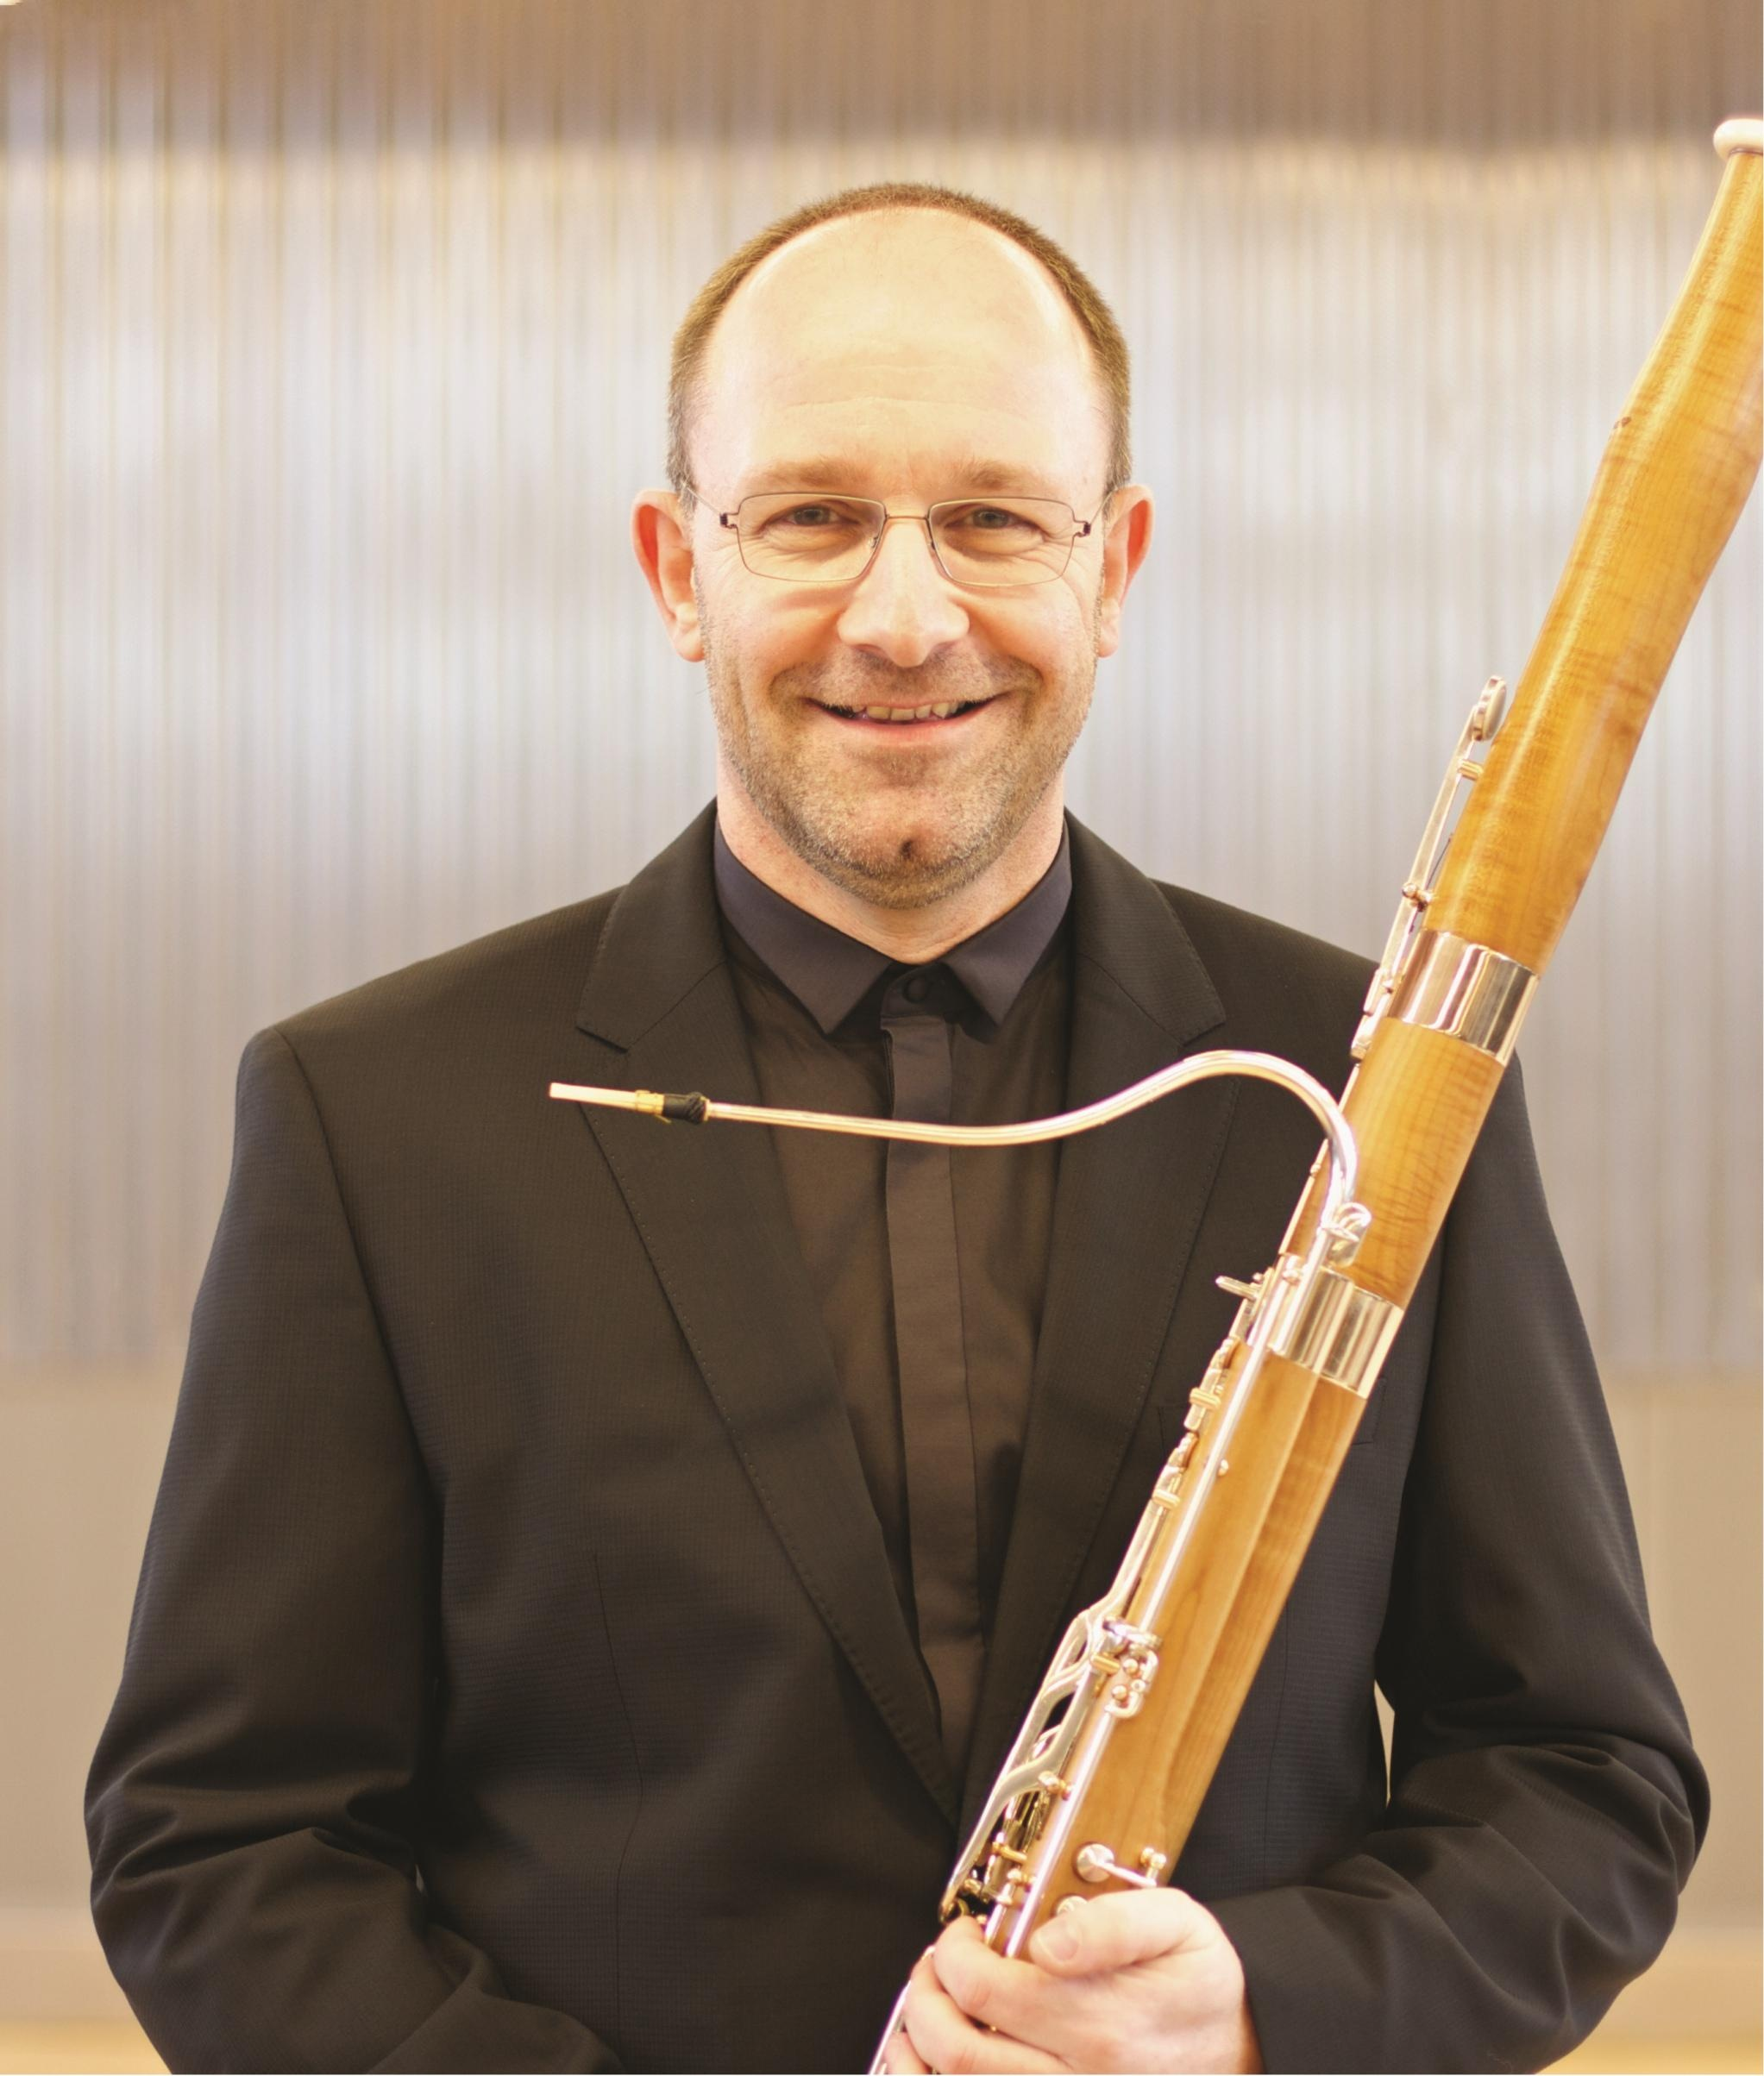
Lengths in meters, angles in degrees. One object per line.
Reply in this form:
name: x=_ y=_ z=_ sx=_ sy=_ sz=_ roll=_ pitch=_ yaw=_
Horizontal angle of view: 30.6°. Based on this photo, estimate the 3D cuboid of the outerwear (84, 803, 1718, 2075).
outerwear: x=-0.063 y=0.312 z=2.348 sx=1.354 sy=1.050 sz=0.651 roll=1 pitch=-6 yaw=-4
